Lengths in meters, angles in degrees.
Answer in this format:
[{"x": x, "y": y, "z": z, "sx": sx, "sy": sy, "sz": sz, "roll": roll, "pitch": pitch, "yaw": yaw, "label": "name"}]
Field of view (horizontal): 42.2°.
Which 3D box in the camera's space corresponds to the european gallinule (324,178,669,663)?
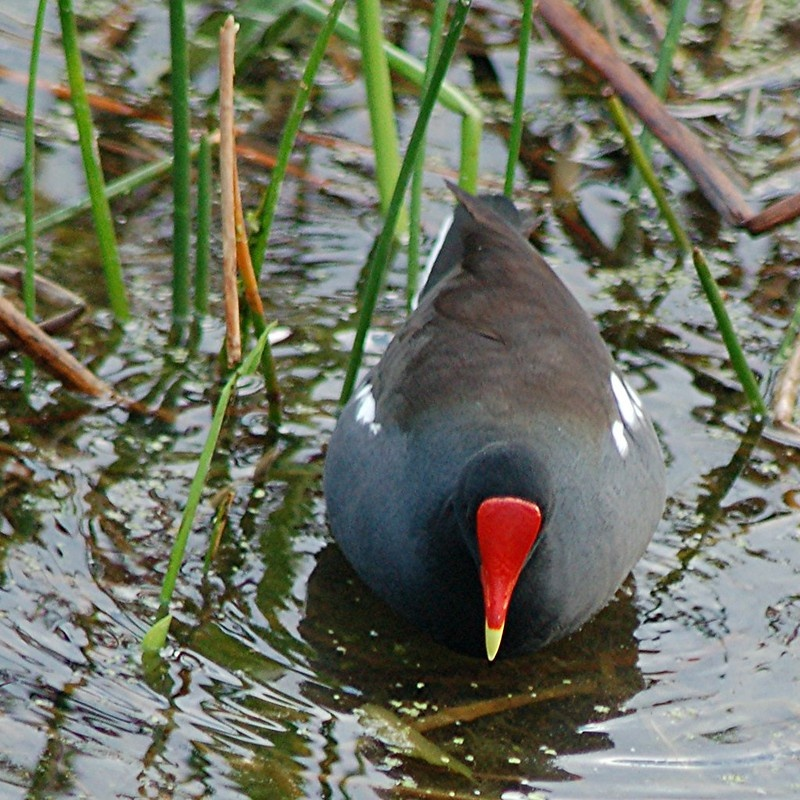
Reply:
[{"x": 0.170, "y": -0.023, "z": 2.251, "sx": 0.637, "sy": 1.025, "sz": 0.715, "roll": 2, "pitch": 1, "yaw": 4, "label": "european gallinule"}]
